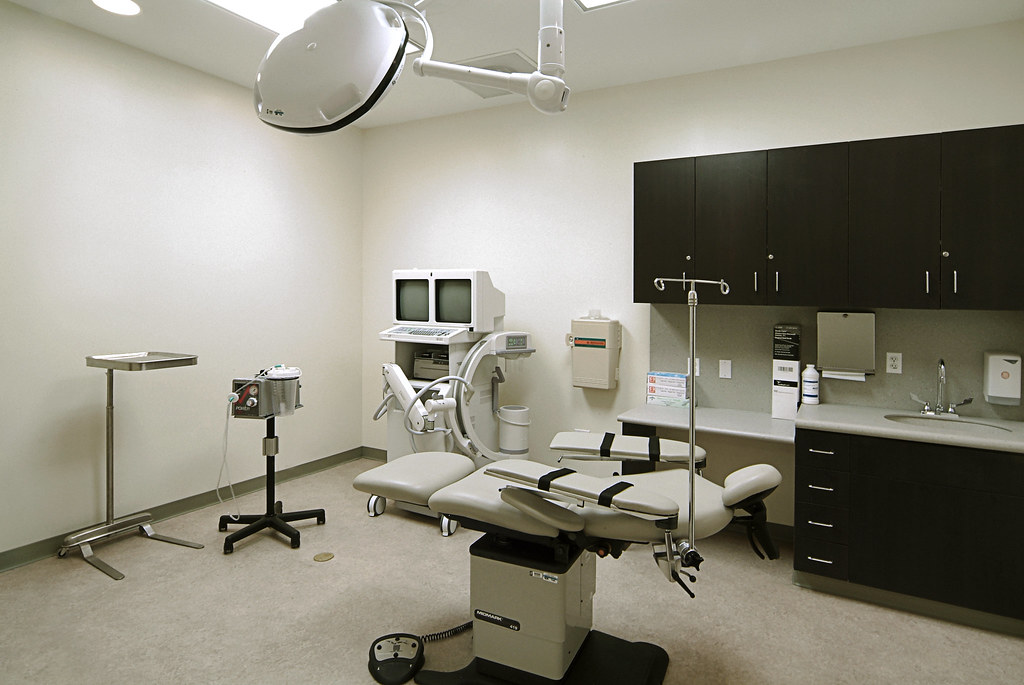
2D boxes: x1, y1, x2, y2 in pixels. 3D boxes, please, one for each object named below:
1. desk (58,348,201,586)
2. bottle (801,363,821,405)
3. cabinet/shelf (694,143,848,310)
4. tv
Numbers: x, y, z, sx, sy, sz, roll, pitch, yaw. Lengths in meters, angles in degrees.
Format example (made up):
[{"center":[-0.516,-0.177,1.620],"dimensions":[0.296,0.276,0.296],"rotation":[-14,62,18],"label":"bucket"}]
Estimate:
[{"center":[-2.824,0.844,5.249],"dimensions":[0.821,1.518,0.698],"rotation":[-4,5,-40],"label":"desk"},{"center":[2.199,0.300,5.334],"dimensions":[0.115,0.282,0.075],"rotation":[0,4,-1],"label":"bottle"},{"center":[1.887,-0.849,5.184],"dimensions":[1.175,1.387,0.524],"rotation":[2,4,27],"label":"cabinet/shelf"},{"center":[-0.545,-0.362,5.950],"dimensions":[0.891,0.504,0.443],"rotation":[-1,4,-6],"label":"tv"}]
